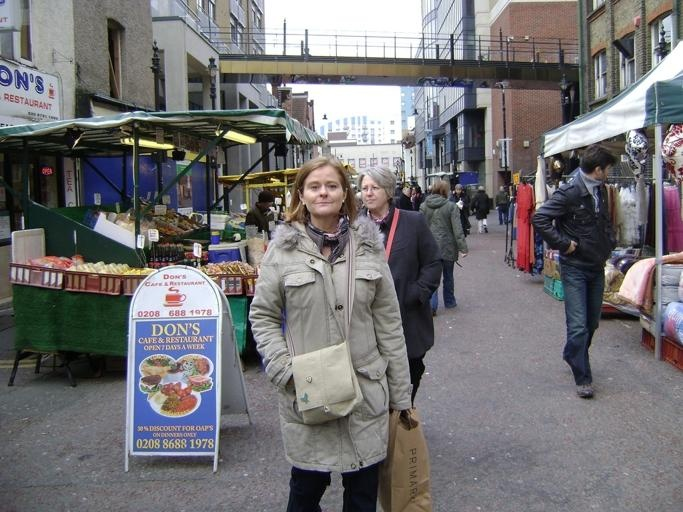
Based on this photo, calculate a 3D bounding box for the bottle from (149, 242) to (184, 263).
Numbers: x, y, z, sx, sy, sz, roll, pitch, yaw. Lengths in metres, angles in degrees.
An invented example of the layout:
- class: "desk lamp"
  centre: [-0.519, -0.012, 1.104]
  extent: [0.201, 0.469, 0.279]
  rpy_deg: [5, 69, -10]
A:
- class: "bottle"
  centre: [-2.830, -0.039, 9.565]
  extent: [0.373, 0.411, 0.326]
  rpy_deg: [1, -4, -29]

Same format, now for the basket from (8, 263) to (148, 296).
- class: "basket"
  centre: [-3.257, 0.280, 7.284]
  extent: [1.686, 0.385, 0.110]
  rpy_deg: [-1, 8, 6]

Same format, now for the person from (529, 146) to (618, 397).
- class: "person"
  centre: [2.599, 0.158, 6.590]
  extent: [0.865, 2.659, 0.605]
  rpy_deg: [1, 8, 13]

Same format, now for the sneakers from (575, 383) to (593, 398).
- class: "sneakers"
  centre: [2.691, 1.444, 6.542]
  extent: [0.182, 0.128, 0.245]
  rpy_deg: [2, 9, 20]

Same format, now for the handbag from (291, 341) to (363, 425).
- class: "handbag"
  centre: [-0.100, 0.758, 3.544]
  extent: [0.362, 0.421, 0.188]
  rpy_deg: [-13, -5, 1]
